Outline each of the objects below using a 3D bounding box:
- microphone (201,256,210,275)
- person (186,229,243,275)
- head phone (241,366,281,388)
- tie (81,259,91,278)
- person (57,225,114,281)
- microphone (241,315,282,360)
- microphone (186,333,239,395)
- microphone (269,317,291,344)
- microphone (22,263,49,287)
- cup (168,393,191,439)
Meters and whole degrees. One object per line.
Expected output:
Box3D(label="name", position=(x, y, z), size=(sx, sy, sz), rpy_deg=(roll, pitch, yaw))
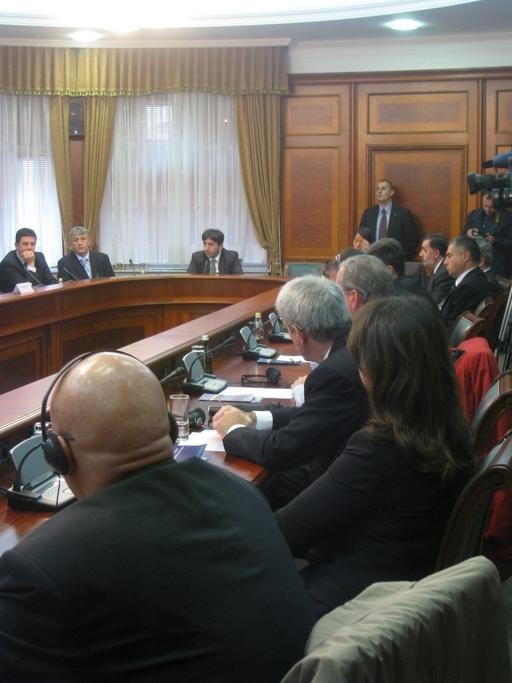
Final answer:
Box3D(label="microphone", position=(-0.651, -1.010, 6.910), size=(0.130, 0.182, 0.126), rpy_deg=(0, 2, -12))
Box3D(label="person", position=(-0.537, -1.122, 6.985), size=(0.728, 0.735, 0.397), rpy_deg=(4, 24, 7))
Box3D(label="head phone", position=(0.023, 0.175, 2.650), size=(0.134, 0.068, 0.098), rpy_deg=(-6, 17, -6))
Box3D(label="tie", position=(-2.150, -0.962, 6.824), size=(0.134, 0.229, 0.046), rpy_deg=(-11, -4, -31))
Box3D(label="person", position=(-2.179, -1.068, 6.888), size=(0.702, 0.775, 0.421), rpy_deg=(-9, -4, -25))
Box3D(label="microphone", position=(0.005, -0.023, 3.326), size=(0.247, 0.285, 0.238), rpy_deg=(-2, 13, 16))
Box3D(label="microphone", position=(-0.232, 0.111, 2.507), size=(0.238, 0.326, 0.204), rpy_deg=(5, 23, 12))
Box3D(label="microphone", position=(0.165, -0.084, 3.736), size=(0.151, 0.185, 0.190), rpy_deg=(-1, 4, 15))
Box3D(label="microphone", position=(-2.531, -0.782, 6.159), size=(0.371, 0.149, 0.283), rpy_deg=(37, 31, 31))
Box3D(label="cup", position=(-0.266, 0.265, 1.853), size=(0.077, 0.153, 0.071), rpy_deg=(-1, -7, 0))
